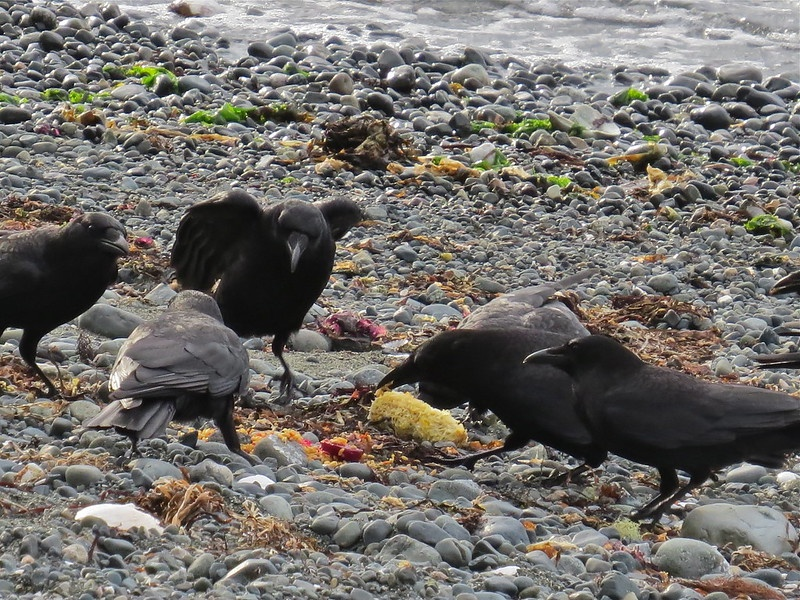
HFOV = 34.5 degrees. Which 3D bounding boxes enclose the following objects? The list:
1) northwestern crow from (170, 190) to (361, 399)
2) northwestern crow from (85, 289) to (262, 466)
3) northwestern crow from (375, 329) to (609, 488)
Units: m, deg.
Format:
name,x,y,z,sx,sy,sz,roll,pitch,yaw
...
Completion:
name,x,y,z,sx,sy,sz,roll,pitch,yaw
northwestern crow,-0.798,-0.130,10.533,1.800,1.501,1.369,-5,21,-18
northwestern crow,-1.536,0.504,8.666,1.080,0.731,1.400,-2,-12,24
northwestern crow,0.757,0.634,9.232,1.953,0.609,0.951,-4,3,13
